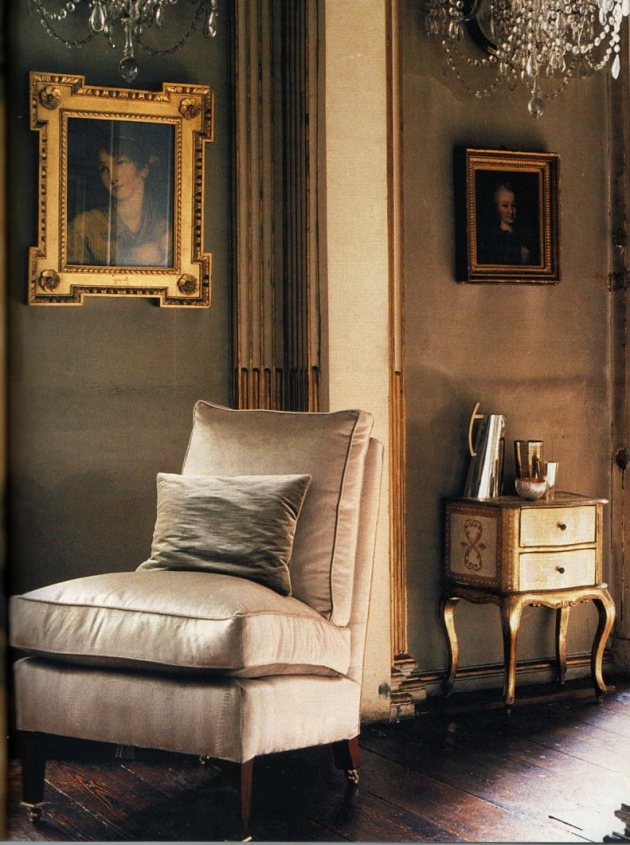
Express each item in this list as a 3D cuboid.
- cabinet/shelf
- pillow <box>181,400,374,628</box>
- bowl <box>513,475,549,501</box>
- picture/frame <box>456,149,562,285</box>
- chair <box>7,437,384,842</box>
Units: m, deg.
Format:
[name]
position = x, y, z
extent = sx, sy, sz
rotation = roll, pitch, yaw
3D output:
[cabinet/shelf]
position = 0.641, 0.522, 3.610
extent = 0.499, 0.604, 0.328
rotation = -1, 3, -32
[pillow]
position = -0.166, 0.199, 2.961
extent = 0.560, 0.519, 0.222
rotation = 1, -11, 31
[bowl]
position = 0.625, 0.194, 3.506
extent = 0.063, 0.052, 0.074
rotation = 3, -2, 33
[picture/frame]
position = 0.587, -0.642, 3.718
extent = 0.417, 0.431, 0.057
rotation = 0, -2, -31
[chair]
position = -0.258, 0.312, 2.815
extent = 0.718, 0.903, 0.807
rotation = 0, -7, 37
